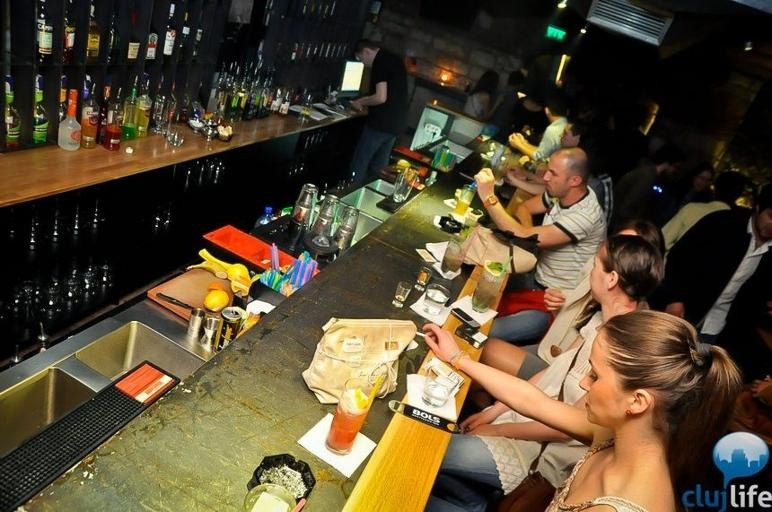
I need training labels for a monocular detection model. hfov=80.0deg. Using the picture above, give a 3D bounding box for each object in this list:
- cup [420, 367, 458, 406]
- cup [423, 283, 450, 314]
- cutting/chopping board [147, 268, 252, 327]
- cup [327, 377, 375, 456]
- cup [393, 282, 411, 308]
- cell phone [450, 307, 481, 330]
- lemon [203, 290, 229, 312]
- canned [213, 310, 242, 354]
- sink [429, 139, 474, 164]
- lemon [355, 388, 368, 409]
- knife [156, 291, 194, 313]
[{"bbox_3d":[0.256,0.632,2.222,0.165,0.114,0.177,15,28,-8],"label":"cup"},{"bbox_3d":[0.300,0.263,2.786,0.141,0.113,0.149,5,30,-3],"label":"cup"},{"bbox_3d":[-1.083,0.261,2.566,0.314,0.053,0.326,29,39,18],"label":"cutting/chopping board"},{"bbox_3d":[-0.134,0.639,1.889,0.135,0.342,0.112,22,3,-6],"label":"cup"},{"bbox_3d":[0.097,0.230,2.667,0.089,0.130,0.086,25,21,-10],"label":"cup"},{"bbox_3d":[0.471,0.364,2.711,0.081,0.028,0.165,-19,42,-39],"label":"cell phone"},{"bbox_3d":[-0.875,0.236,2.431,0.101,0.097,0.128,2,3,41],"label":"lemon"},{"bbox_3d":[-0.807,0.388,2.363,0.146,0.194,0.143,9,10,-31],"label":"canned"},{"bbox_3d":[0.980,-1.497,6.613,0.621,0.141,0.571,24,36,35],"label":"sink"},{"bbox_3d":[-0.095,0.574,1.847,0.053,0.044,0.066,-2,34,-34],"label":"lemon"},{"bbox_3d":[-1.126,0.239,2.457,0.213,0.027,0.049,21,28,5],"label":"knife"}]
